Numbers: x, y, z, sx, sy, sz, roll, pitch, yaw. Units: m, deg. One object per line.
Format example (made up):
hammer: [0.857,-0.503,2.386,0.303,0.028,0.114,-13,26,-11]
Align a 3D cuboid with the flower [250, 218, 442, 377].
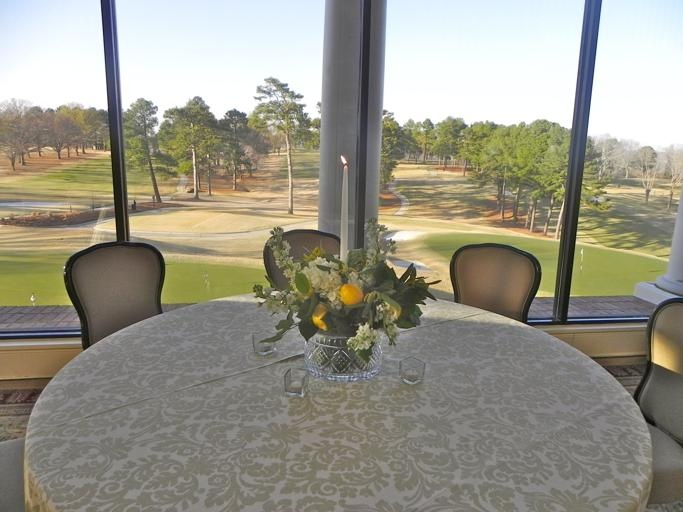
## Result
flower: [0.017,0.111,1.676,0.537,0.436,0.513,-1,6,-5]

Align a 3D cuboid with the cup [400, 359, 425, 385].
cup: [0.225,0.372,1.565,0.071,0.071,0.072,-1,5,0]

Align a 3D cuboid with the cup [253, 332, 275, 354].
cup: [-0.282,0.310,1.732,0.068,0.056,0.076,0,3,-1]

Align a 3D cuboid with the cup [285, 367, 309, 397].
cup: [-0.138,0.397,1.536,0.075,0.075,0.077,0,13,0]
